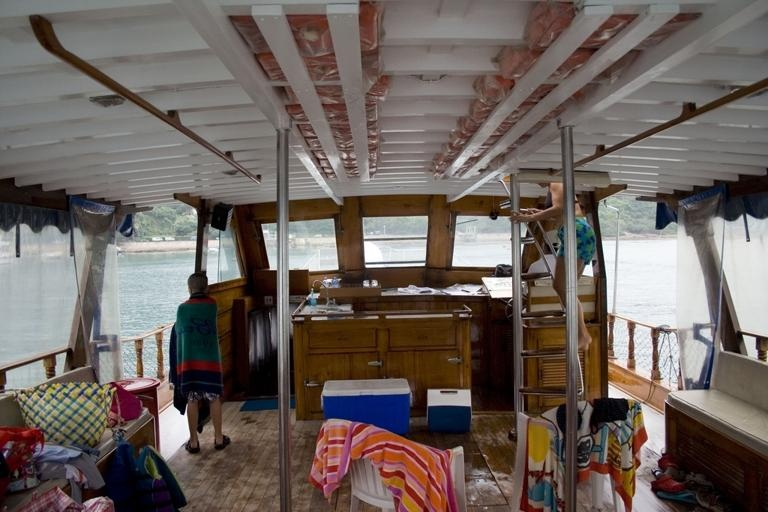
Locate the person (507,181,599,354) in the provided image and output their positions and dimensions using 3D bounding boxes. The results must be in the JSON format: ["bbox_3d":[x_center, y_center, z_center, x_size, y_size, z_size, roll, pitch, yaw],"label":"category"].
[{"bbox_3d":[1.786,0.059,5.508,0.758,1.819,1.288,0,-1,19],"label":"person"}]

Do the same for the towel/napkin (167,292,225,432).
[{"bbox_3d":[-2.202,1.150,6.147,0.563,1.411,0.380,1,-1,-22],"label":"towel/napkin"}]

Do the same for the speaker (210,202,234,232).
[{"bbox_3d":[-2.449,-0.623,7.912,0.334,0.317,0.565,9,23,-9],"label":"speaker"}]

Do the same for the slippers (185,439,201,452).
[{"bbox_3d":[-2.286,2.260,6.292,0.096,0.091,0.254,2,2,-14],"label":"slippers"}]

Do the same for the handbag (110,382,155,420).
[{"bbox_3d":[-2.804,1.657,6.213,0.495,0.360,0.493,-2,-10,20],"label":"handbag"}]

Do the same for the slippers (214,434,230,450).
[{"bbox_3d":[-1.949,2.243,6.338,0.092,0.092,0.220,3,6,8],"label":"slippers"}]

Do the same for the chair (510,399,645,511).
[{"bbox_3d":[1.810,1.881,4.868,1.294,1.153,0.543,0,-4,-5],"label":"chair"}]
